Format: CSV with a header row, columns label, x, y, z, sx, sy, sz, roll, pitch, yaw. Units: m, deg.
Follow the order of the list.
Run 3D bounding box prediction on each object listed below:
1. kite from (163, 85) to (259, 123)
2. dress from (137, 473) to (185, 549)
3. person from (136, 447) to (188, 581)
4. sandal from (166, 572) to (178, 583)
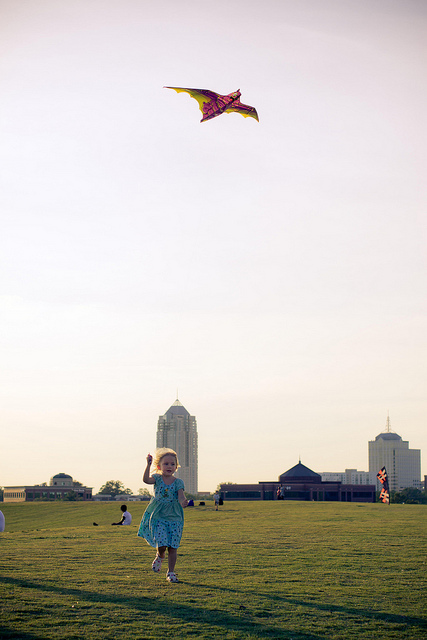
label,x,y,z,sx,sy,sz,roll,pitch,yaw
kite,0.164,-4.613,24.863,1.207,0.415,1.517,-3,-10,12
dress,-0.796,2.842,17.358,0.664,1.128,0.718,0,-10,-4
person,-0.720,2.789,17.299,0.649,1.803,0.907,5,-11,-28
sandal,-0.604,3.639,16.463,0.099,0.123,0.270,3,-16,-14
